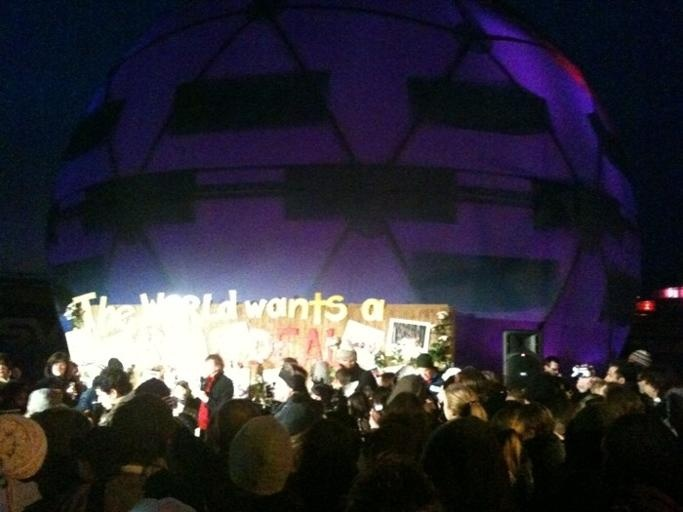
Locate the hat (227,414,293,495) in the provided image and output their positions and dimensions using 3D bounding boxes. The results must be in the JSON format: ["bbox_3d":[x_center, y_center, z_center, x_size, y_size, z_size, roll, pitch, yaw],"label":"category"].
[{"bbox_3d":[-0.536,1.378,3.709,0.420,0.522,0.311,5,-2,-1],"label":"hat"}]

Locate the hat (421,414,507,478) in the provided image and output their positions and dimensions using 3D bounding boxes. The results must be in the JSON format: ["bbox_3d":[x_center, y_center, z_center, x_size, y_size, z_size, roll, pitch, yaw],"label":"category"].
[{"bbox_3d":[0.945,1.389,4.052,0.572,0.381,0.574,8,-1,44],"label":"hat"}]

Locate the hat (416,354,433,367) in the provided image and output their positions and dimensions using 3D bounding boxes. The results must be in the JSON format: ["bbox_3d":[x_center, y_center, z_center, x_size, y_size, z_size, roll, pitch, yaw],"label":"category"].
[{"bbox_3d":[1.279,1.600,8.352,0.224,0.204,0.198,18,-31,9],"label":"hat"}]

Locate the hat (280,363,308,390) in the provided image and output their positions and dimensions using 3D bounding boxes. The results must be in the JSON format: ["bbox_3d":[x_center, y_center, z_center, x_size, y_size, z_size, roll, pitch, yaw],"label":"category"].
[{"bbox_3d":[-0.515,1.388,6.147,0.238,0.229,0.306,-14,17,-15],"label":"hat"}]
